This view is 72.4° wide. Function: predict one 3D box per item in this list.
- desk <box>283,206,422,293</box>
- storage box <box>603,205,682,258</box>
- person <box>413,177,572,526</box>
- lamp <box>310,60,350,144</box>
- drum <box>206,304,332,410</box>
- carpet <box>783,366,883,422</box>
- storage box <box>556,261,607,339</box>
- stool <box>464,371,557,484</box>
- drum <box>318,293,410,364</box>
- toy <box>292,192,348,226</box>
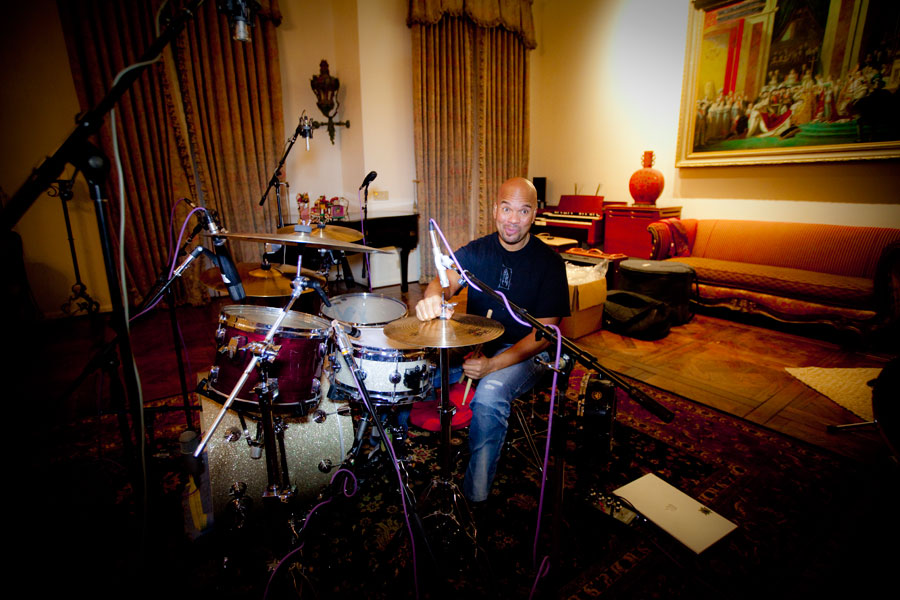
[{"bbox_3d":[-0.890,-0.504,6.163,0.702,0.824,0.903,13,11,28],"label":"desk"},{"bbox_3d":[1.884,-0.642,6.403,0.589,0.595,0.410,5,-17,16],"label":"storage box"},{"bbox_3d":[0.231,0.219,3.910,1.070,1.878,0.900,-9,18,-32],"label":"person"},{"bbox_3d":[-1.297,-2.114,6.560,0.349,0.840,0.292,-11,19,-26],"label":"lamp"},{"bbox_3d":[-1.085,0.275,3.787,0.641,0.483,0.655,17,3,-1],"label":"drum"},{"bbox_3d":[2.835,0.622,4.442,0.404,0.015,0.415,-8,16,-5],"label":"carpet"},{"bbox_3d":[1.147,0.045,5.424,0.375,0.471,0.302,-12,15,-31],"label":"storage box"},{"bbox_3d":[0.369,0.764,3.821,0.433,0.775,0.782,-2,-4,30],"label":"stool"},{"bbox_3d":[-0.507,0.122,3.861,0.442,0.442,0.442,-8,28,-41],"label":"drum"},{"bbox_3d":[-1.297,-0.891,5.998,0.553,0.353,0.571,2,12,8],"label":"toy"}]
